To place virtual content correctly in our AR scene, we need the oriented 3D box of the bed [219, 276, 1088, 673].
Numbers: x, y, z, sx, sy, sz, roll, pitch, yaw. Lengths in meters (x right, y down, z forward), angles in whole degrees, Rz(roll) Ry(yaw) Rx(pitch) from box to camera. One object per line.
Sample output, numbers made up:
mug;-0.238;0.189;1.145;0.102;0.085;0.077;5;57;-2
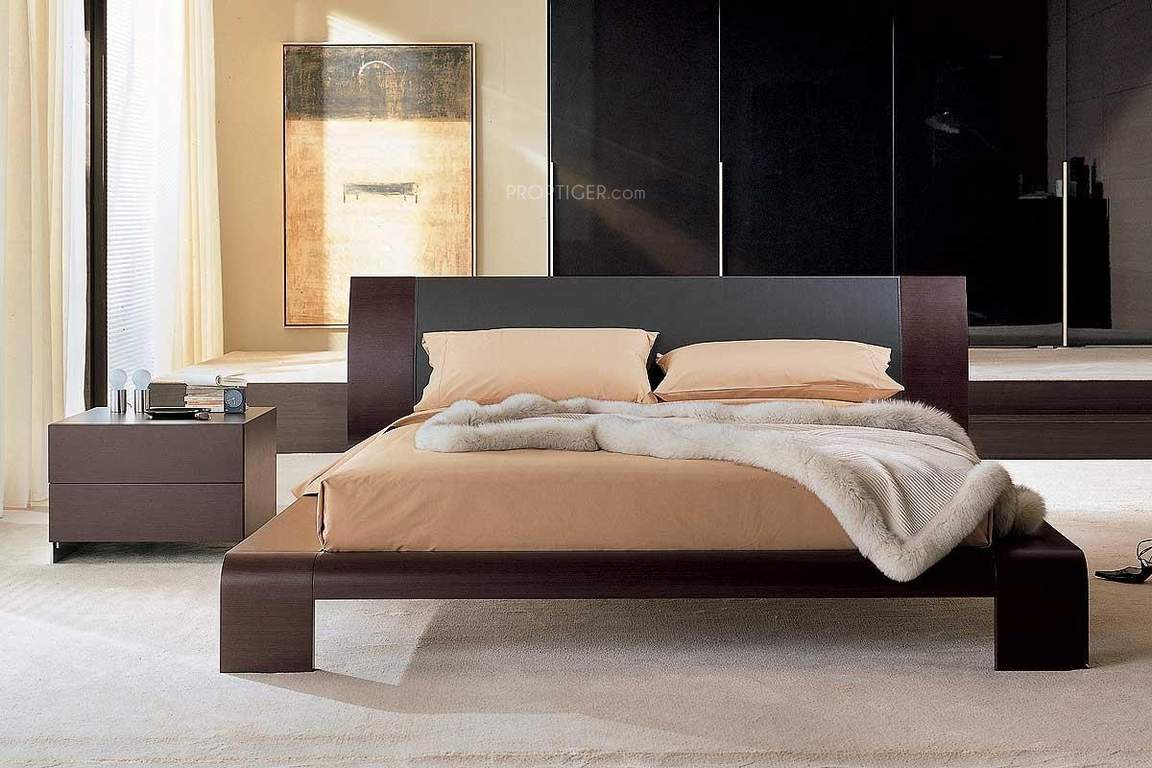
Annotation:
bed;0.352;0.196;3.988;2.963;1.045;2.071;0;13;0
